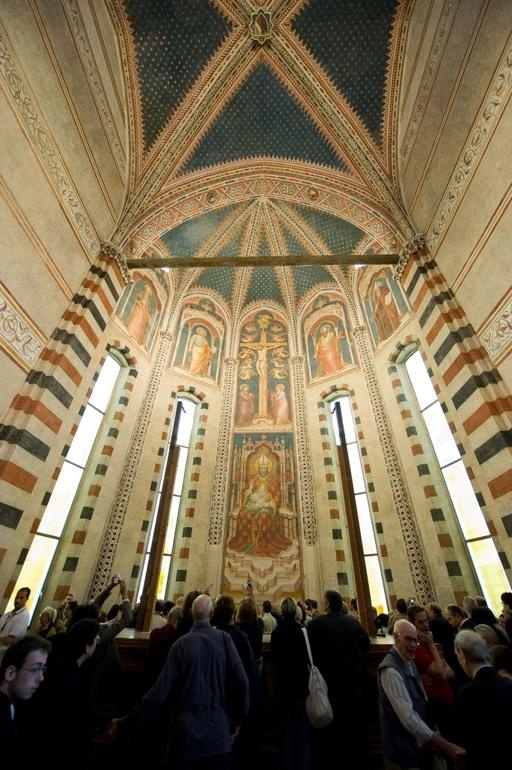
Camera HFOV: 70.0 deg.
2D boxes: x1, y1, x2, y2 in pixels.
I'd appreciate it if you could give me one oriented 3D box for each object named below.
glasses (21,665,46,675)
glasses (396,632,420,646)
[{"bbox_3d":[-0.986,1.255,1.628,0.081,0.020,0.067,-4,-28,14],"label":"glasses"},{"bbox_3d":[0.926,1.535,2.228,0.085,0.045,0.078,3,-43,7],"label":"glasses"}]
